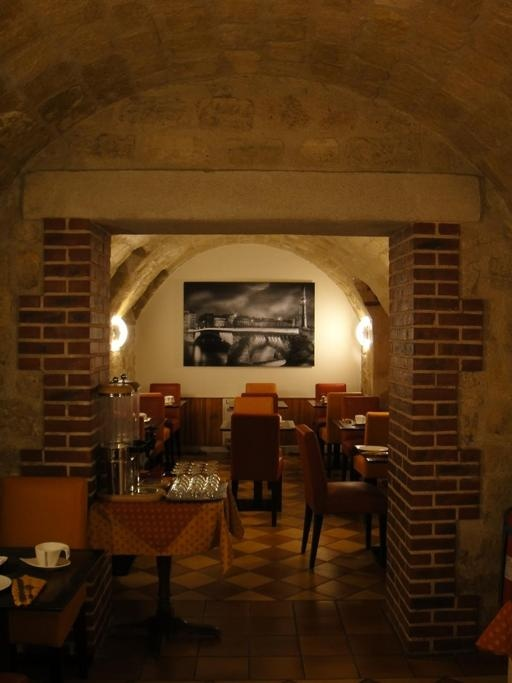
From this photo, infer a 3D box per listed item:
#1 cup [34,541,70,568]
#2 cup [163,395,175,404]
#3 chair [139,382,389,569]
[{"bbox_3d":[-0.768,0.798,2.225,0.129,0.064,0.088,2,-4,7],"label":"cup"},{"bbox_3d":[-1.093,0.726,7.380,0.085,0.074,0.108,1,7,3],"label":"cup"},{"bbox_3d":[0.352,0.956,4.675,1.092,1.766,1.050,-2,-3,4],"label":"chair"}]
